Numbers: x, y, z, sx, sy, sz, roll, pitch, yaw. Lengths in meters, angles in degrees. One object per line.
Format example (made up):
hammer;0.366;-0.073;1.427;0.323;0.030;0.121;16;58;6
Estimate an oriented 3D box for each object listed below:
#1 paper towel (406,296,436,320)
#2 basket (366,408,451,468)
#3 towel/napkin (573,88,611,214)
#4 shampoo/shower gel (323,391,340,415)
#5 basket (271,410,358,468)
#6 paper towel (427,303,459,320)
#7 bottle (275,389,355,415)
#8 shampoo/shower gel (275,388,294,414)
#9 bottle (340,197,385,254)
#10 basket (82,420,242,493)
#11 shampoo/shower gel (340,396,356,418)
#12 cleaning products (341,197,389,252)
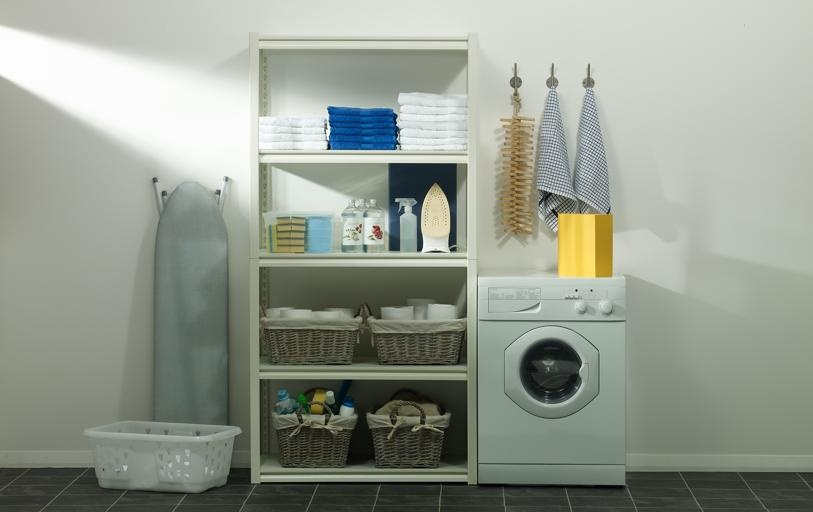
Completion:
paper towel;0.079;0.305;4.158;0.130;0.122;0.046;1;-12;-11
basket;0.007;1.043;4.208;0.397;0.263;0.403;0;-6;0
towel/napkin;1.124;-0.644;4.238;0.227;0.754;0.138;2;1;12
shampoo/shower gel;-0.442;0.869;4.134;0.055;0.143;0.053;10;46;7
basket;-0.537;1.064;4.194;0.388;0.225;0.374;1;-8;0
paper towel;0.203;0.327;4.080;0.114;0.107;0.041;1;-1;4
bottle;-0.588;0.873;4.159;0.328;0.124;0.201;1;-2;-5
shampoo/shower gel;-0.719;0.849;4.114;0.116;0.133;0.080;1;1;5
bottle;-0.257;-0.182;4.155;0.240;0.306;0.151;1;1;-8
basket;-1.377;1.160;4.066;0.543;0.196;0.521;1;-5;7
shampoo/shower gel;-0.344;0.885;4.093;0.100;0.162;0.097;4;-7;-2
cleaning products;-0.253;-0.187;4.146;0.355;0.449;0.177;0;-3;-5
